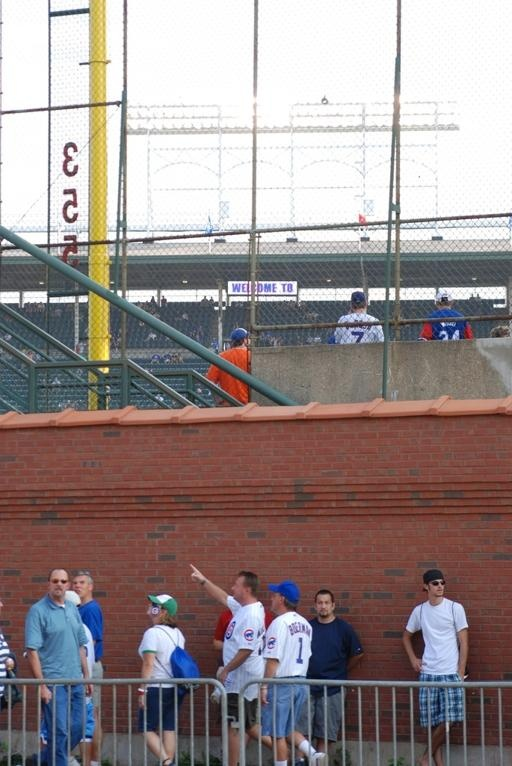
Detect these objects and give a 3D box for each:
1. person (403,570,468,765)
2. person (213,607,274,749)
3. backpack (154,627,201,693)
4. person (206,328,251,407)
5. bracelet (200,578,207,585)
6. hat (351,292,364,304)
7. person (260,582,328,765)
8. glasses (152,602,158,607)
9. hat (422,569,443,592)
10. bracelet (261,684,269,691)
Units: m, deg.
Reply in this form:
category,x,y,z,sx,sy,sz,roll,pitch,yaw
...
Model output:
category,x,y,z,sx,sy,sz,roll,pitch,yaw
person,1.615,2.486,21.881,0.565,1.711,0.960,1,-9,-3
person,-0.102,2.503,22.576,0.639,0.583,0.984,-3,-15,-2
backpack,-0.632,2.398,21.728,0.259,0.636,0.296,-14,-15,17
person,-0.245,-0.191,25.090,0.428,0.932,0.963,0,-10,-1
bracelet,-0.444,1.796,22.596,0.032,0.062,0.055,0,-43,13
hat,1.019,-0.863,24.941,0.101,0.122,0.101,25,28,33
person,0.332,2.484,21.416,0.537,1.610,1.254,0,-10,1
glasses,-0.850,1.933,21.846,0.041,0.054,0.028,1,-10,8
hat,1.567,1.736,22.063,0.176,0.203,0.215,-1,-10,4
bracelet,0.093,2.590,21.232,0.043,0.056,0.094,5,-6,6
